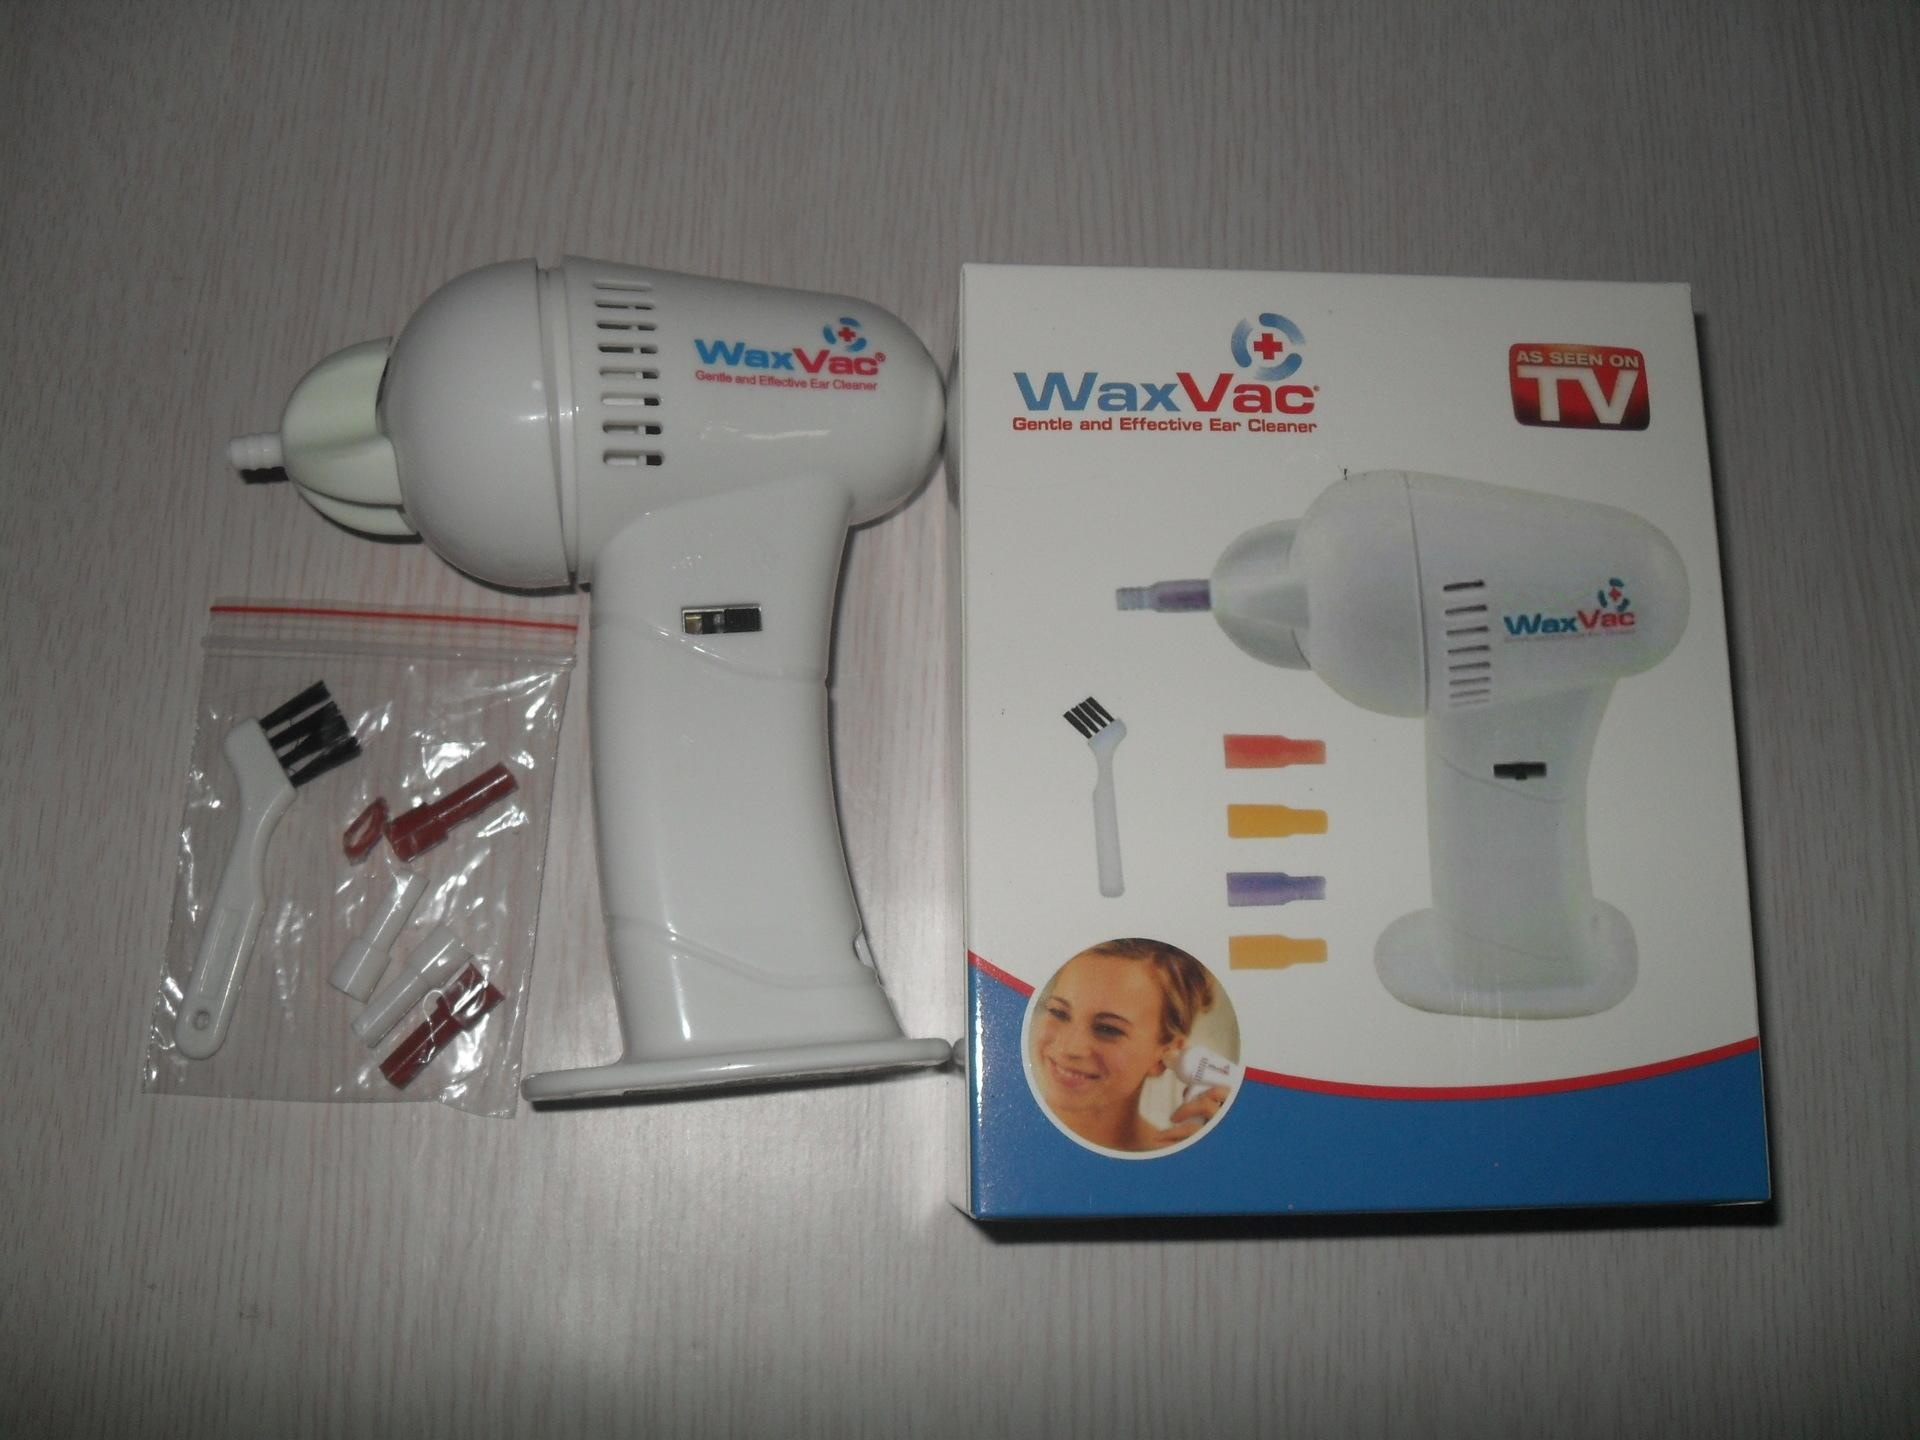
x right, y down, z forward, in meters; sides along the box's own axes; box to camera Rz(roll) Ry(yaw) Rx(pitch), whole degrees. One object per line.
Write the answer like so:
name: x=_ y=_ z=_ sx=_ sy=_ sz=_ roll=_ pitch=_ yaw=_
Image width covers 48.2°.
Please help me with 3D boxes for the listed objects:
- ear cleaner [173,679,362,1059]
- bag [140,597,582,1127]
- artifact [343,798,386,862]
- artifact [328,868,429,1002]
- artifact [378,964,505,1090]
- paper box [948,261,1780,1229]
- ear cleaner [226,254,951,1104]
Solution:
ear cleaner: x=-0.453 y=0.100 z=1.407 sx=0.085 sy=0.018 sz=0.240 roll=14 pitch=87 yaw=8
bag: x=-0.362 y=0.061 z=1.468 sx=0.296 sy=0.304 sz=0.272 roll=6 pitch=25 yaw=16
artifact: x=-0.386 y=0.072 z=1.391 sx=0.025 sy=0.008 sz=0.038 roll=26 pitch=83 yaw=-14
artifact: x=-0.371 y=0.140 z=1.378 sx=0.035 sy=0.034 sz=0.098 roll=25 pitch=74 yaw=3
artifact: x=-0.333 y=0.200 z=1.375 sx=0.032 sy=0.024 sz=0.065 roll=43 pitch=78 yaw=2
paper box: x=0.239 y=0.006 z=1.298 sx=0.478 sy=0.149 sz=0.549 roll=1 pitch=72 yaw=-7
ear cleaner: x=-0.212 y=-0.030 z=1.307 sx=0.412 sy=0.133 sz=0.486 roll=0 pitch=72 yaw=-7
